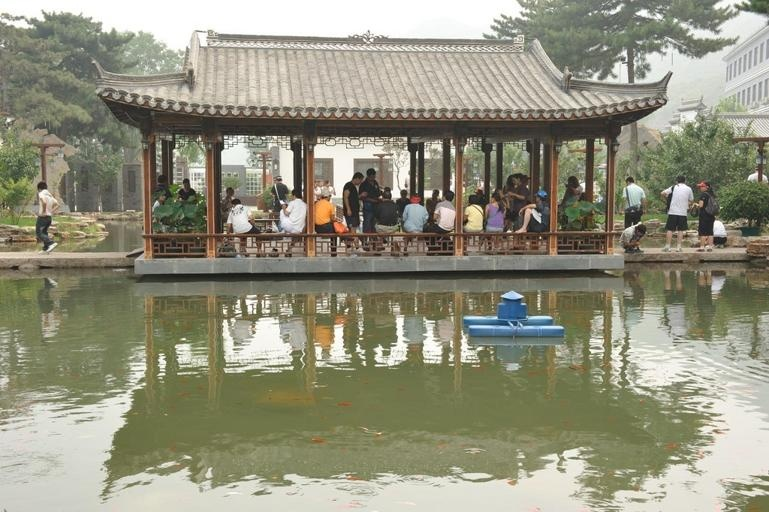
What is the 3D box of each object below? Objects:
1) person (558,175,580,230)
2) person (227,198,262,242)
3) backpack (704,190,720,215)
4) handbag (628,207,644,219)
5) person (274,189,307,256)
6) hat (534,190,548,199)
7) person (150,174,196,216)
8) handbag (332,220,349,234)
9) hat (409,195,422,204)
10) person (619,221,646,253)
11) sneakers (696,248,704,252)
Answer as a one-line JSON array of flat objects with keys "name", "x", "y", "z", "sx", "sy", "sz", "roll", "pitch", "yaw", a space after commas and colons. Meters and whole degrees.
[{"name": "person", "x": 4.014, "y": -1.162, "z": 20.359, "sx": 0.464, "sy": 1.166, "sz": 0.789, "roll": -2, "pitch": -1, "yaw": 11}, {"name": "person", "x": -2.944, "y": -0.765, "z": 19.630, "sx": 0.635, "sy": 0.875, "sz": 1.842, "roll": -1, "pitch": 0, "yaw": -9}, {"name": "backpack", "x": 7.367, "y": -1.204, "z": 21.158, "sx": 0.311, "sy": 0.454, "sz": 0.451, "roll": -2, "pitch": -1, "yaw": 44}, {"name": "handbag", "x": 5.814, "y": -1.007, "z": 21.717, "sx": 0.233, "sy": 0.283, "sz": 0.280, "roll": 1, "pitch": 7, "yaw": 4}, {"name": "person", "x": -1.909, "y": -0.727, "z": 19.647, "sx": 0.617, "sy": 1.442, "sz": 1.370, "roll": -1, "pitch": -1, "yaw": -6}, {"name": "hat", "x": 3.261, "y": -1.328, "z": 19.701, "sx": 0.250, "sy": 0.126, "sz": 0.180, "roll": 31, "pitch": 23, "yaw": 37}, {"name": "person", "x": -4.402, "y": -1.366, "z": 19.511, "sx": 0.884, "sy": 0.257, "sz": 0.867, "roll": -13, "pitch": -20, "yaw": 12}, {"name": "handbag", "x": -0.954, "y": -0.607, "z": 19.681, "sx": 0.263, "sy": 0.119, "sz": 0.310, "roll": 12, "pitch": 6, "yaw": -25}, {"name": "hat", "x": 0.695, "y": -1.214, "z": 20.046, "sx": 0.189, "sy": 0.210, "sz": 0.240, "roll": -9, "pitch": 31, "yaw": -18}, {"name": "person", "x": 5.638, "y": -0.456, "z": 21.435, "sx": 0.684, "sy": 0.747, "sz": 0.592, "roll": -1, "pitch": 12, "yaw": 7}, {"name": "sneakers", "x": 7.226, "y": -0.141, "z": 21.491, "sx": 0.076, "sy": 0.123, "sz": 0.209, "roll": -2, "pitch": 7, "yaw": -30}]
